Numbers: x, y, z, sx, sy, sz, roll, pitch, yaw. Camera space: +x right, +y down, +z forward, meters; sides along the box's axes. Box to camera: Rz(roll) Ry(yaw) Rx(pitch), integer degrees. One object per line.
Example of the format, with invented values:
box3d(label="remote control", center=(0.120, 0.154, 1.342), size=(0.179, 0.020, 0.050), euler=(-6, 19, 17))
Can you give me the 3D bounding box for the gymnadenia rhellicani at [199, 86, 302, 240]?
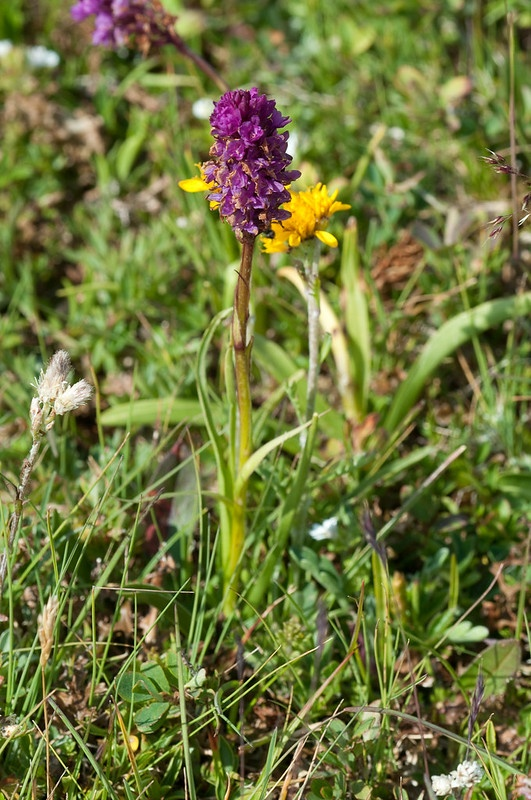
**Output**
box3d(label="gymnadenia rhellicani", center=(-0.027, -0.308, 0.954), size=(0.109, 0.209, 0.114), euler=(-5, 28, -12))
